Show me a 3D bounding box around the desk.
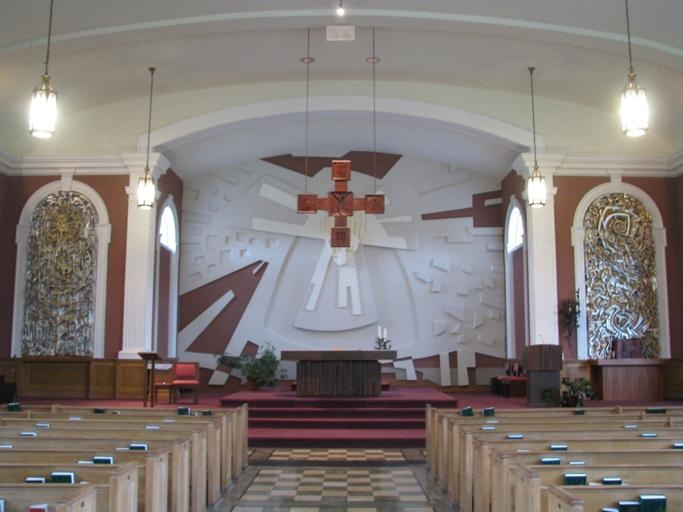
[{"bbox_3d":[-0.068,1.977,10.517,1.594,0.769,0.416,-1,-8,-1],"label":"desk"}]

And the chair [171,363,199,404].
[{"bbox_3d":[-2.742,2.219,11.025,0.514,0.692,0.563,-1,-8,0],"label":"chair"}]

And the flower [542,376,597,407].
[{"bbox_3d":[3.688,2.267,10.267,0.557,0.489,0.672,-1,-3,10],"label":"flower"}]

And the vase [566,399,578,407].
[{"bbox_3d":[3.690,2.400,10.155,0.134,0.106,0.140,0,-9,4],"label":"vase"}]

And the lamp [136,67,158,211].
[{"bbox_3d":[-3.227,-1.990,10.559,0.293,2.228,0.311,3,5,-12],"label":"lamp"}]

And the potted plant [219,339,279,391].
[{"bbox_3d":[-1.845,2.289,13.140,0.890,0.713,0.904,1,-2,37],"label":"potted plant"}]
